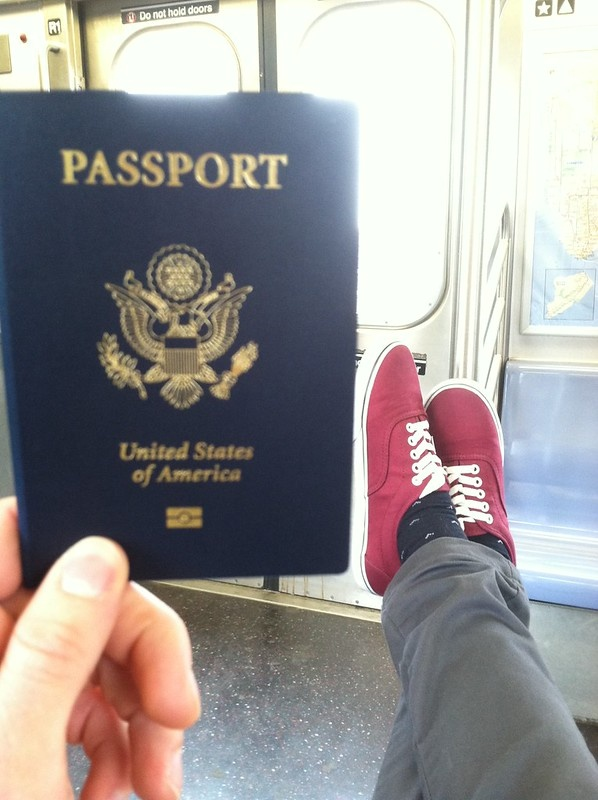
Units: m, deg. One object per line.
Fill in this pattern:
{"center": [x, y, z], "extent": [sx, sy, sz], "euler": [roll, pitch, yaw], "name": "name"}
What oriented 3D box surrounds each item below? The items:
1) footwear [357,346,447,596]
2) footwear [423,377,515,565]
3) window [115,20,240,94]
{"center": [0.277, 0.139, 1.543], "extent": [0.171, 0.587, 0.205], "euler": [7, -9, -25], "name": "footwear"}
{"center": [0.419, 0.134, 1.749], "extent": [0.150, 0.417, 0.141], "euler": [-29, 45, 31], "name": "footwear"}
{"center": [-0.345, -0.884, 1.735], "extent": [0.391, 0.189, 0.127], "euler": [7, 12, 29], "name": "window"}
